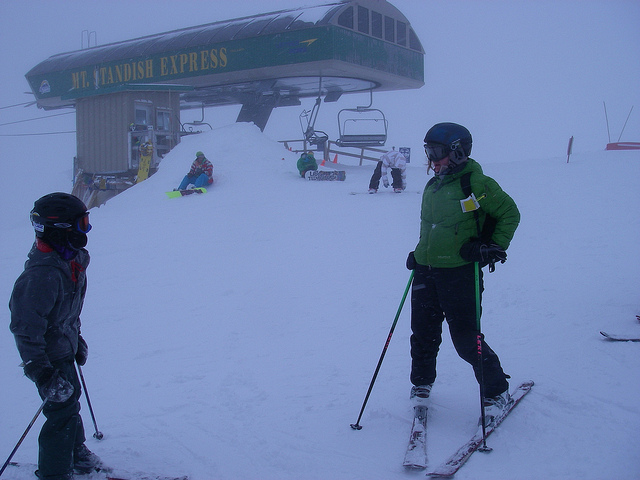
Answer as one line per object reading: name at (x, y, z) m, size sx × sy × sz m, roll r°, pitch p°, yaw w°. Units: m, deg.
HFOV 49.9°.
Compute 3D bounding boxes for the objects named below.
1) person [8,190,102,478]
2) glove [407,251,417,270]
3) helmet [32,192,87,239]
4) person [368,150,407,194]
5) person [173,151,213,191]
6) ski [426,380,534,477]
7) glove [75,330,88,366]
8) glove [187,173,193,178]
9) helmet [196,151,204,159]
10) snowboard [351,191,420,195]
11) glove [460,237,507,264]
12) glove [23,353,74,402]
person at (-2.341, 0.784, 6.066) m, size 0.703 × 2.420 × 1.092 m, roll -3°, pitch 10°, yaw -25°
glove at (0.902, 0.206, 6.760) m, size 0.083 × 0.187 × 0.228 m, roll 2°, pitch 10°, yaw 3°
helmet at (-2.224, -0.186, 5.928) m, size 0.487 × 0.475 × 0.406 m, roll 2°, pitch 9°, yaw 20°
person at (1.550, -1.532, 15.544) m, size 0.724 × 0.947 × 0.881 m, roll 7°, pitch 11°, yaw 26°
person at (-2.984, -1.694, 16.742) m, size 0.573 × 0.849 × 1.019 m, roll 7°, pitch 11°, yaw 26°
ski at (1.488, 1.763, 6.350) m, size 0.169 × 0.080 × 1.564 m, roll -15°, pitch 13°, yaw 42°
glove at (-2.132, 0.980, 6.138) m, size 0.095 × 0.367 × 0.328 m, roll -1°, pitch 10°, yaw -17°
glove at (-3.137, -1.574, 16.653) m, size 0.117 × 0.124 × 0.028 m, roll 0°, pitch 2°, yaw -19°
helmet at (-2.954, -2.099, 16.916) m, size 0.129 × 0.127 × 0.269 m, roll -1°, pitch 11°, yaw -18°
snowboard at (1.507, -1.104, 15.741) m, size 1.617 × 0.064 × 0.628 m, roll 0°, pitch 11°, yaw -10°
glove at (1.507, 0.090, 6.342) m, size 0.345 × 0.160 × 0.234 m, roll 9°, pitch 20°, yaw -1°
glove at (-2.291, 1.145, 5.792) m, size 0.278 × 0.280 × 0.425 m, roll 0°, pitch 18°, yaw -2°
